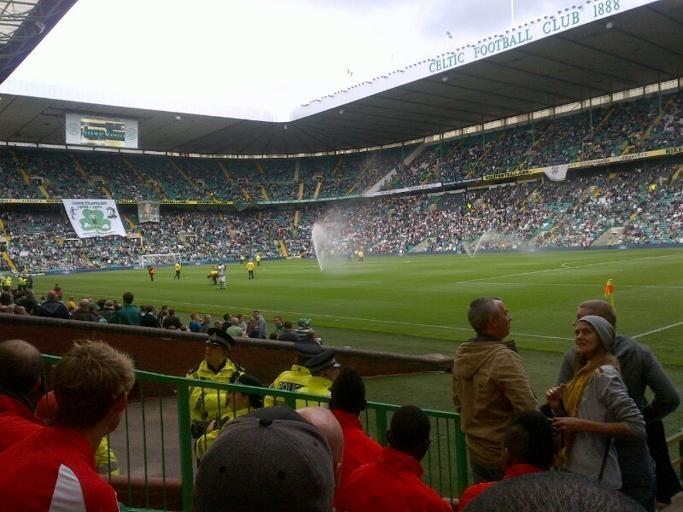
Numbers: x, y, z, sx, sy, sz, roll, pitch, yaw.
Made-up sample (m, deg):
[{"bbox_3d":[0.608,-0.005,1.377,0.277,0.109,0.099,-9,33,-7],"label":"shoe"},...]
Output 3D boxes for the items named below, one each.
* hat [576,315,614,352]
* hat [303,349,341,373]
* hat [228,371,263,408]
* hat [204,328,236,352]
[{"bbox_3d":[1.768,0.509,4.068,0.265,0.246,0.216,1,4,32],"label":"hat"},{"bbox_3d":[-0.159,0.846,4.693,0.219,0.078,0.175,-4,1,-32],"label":"hat"},{"bbox_3d":[-0.752,1.029,4.487,0.301,0.256,0.256,0,-3,10],"label":"hat"},{"bbox_3d":[-1.065,0.730,5.227,0.211,0.097,0.230,-3,-29,35],"label":"hat"}]
